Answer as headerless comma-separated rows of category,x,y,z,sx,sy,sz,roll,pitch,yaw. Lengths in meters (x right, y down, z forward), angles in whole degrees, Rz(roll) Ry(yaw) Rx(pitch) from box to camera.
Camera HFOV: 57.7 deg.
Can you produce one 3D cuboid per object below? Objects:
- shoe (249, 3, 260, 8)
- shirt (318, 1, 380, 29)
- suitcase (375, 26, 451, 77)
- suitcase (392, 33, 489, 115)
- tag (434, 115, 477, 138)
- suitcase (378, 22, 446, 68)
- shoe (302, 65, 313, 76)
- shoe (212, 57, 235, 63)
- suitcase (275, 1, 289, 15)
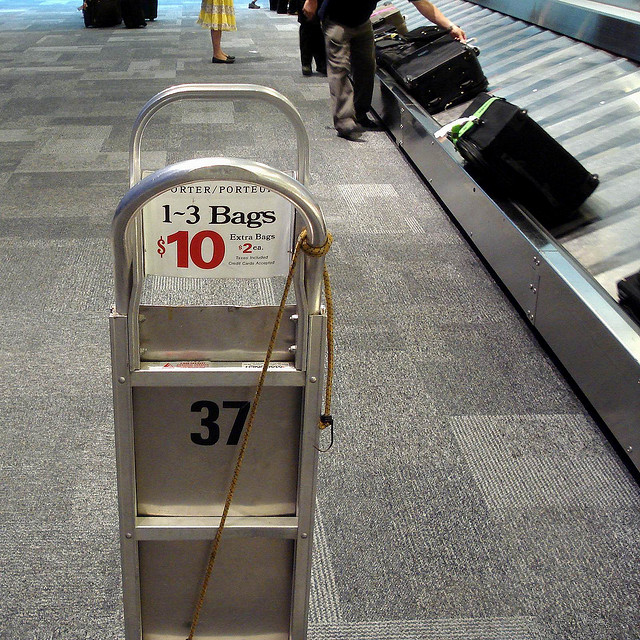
shoe,-1.425,-6.749,12.538,0.265,0.136,0.077,-1,73,-10
shirt,0.198,-2.185,4.186,0.270,0.226,0.243,1,20,35
suitcase,0.764,-2.435,5.138,0.722,0.208,0.485,-14,31,20
suitcase,0.883,-1.907,4.696,0.651,0.333,0.799,-33,42,-4
tag,0.776,-1.144,3.445,0.171,0.038,0.168,-28,-1,32
suitcase,0.739,-2.499,5.262,0.652,0.172,0.631,-29,22,-21
shoe,-0.141,-2.790,6.519,0.129,0.111,0.099,-3,83,-5
shoe,-1.163,-3.127,7.044,0.266,0.088,0.082,-6,47,-8
suitcase,-0.729,-6.160,11.472,0.189,0.208,0.308,-4,38,-13
